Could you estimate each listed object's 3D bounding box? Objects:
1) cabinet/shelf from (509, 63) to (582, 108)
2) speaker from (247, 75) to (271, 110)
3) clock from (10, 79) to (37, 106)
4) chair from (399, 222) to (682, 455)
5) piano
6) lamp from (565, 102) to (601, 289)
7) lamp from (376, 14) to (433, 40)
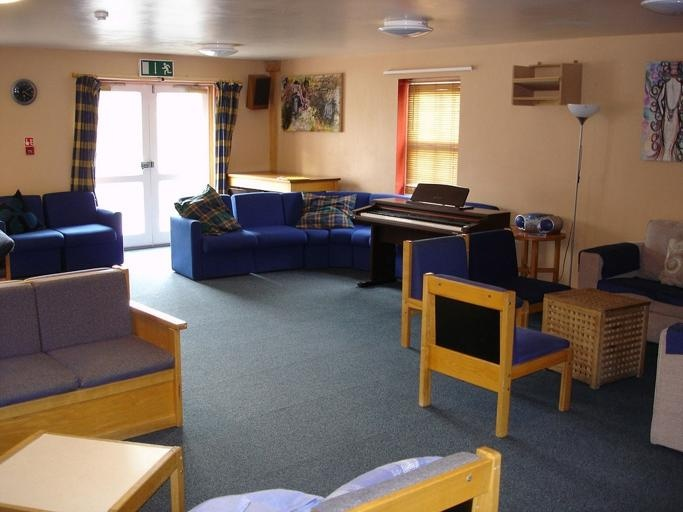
[{"bbox_3d":[2.437,-2.027,6.081,0.376,0.470,0.712,-7,12,-35],"label":"cabinet/shelf"},{"bbox_3d":[-1.465,-2.923,9.103,0.540,0.628,0.210,-10,24,-37],"label":"speaker"},{"bbox_3d":[-4.506,-2.328,7.280,0.377,0.380,0.076,-14,15,-41],"label":"clock"},{"bbox_3d":[1.286,0.441,4.335,1.935,1.035,1.612,-9,17,-34],"label":"chair"},{"bbox_3d":[1.054,-0.194,6.271,0.779,1.348,1.686,-2,9,-39],"label":"piano"},{"bbox_3d":[2.792,-0.808,6.097,0.389,1.851,0.394,9,13,42],"label":"lamp"},{"bbox_3d":[0.627,-2.236,5.006,0.487,0.126,0.439,3,14,8],"label":"lamp"}]
